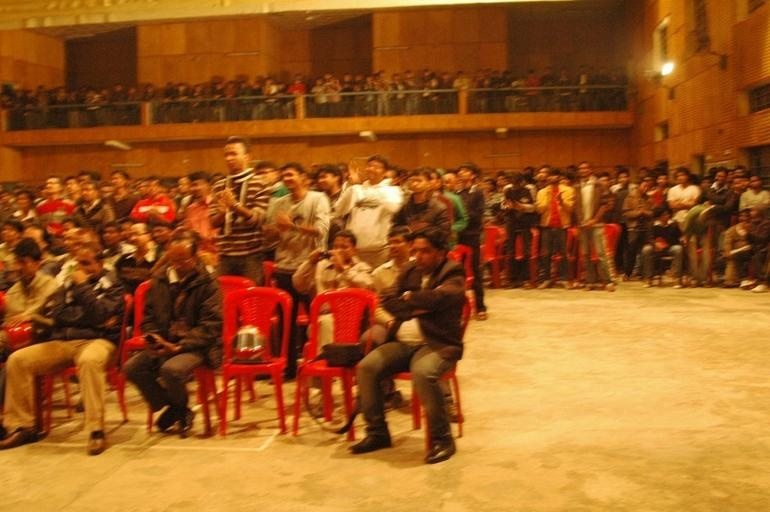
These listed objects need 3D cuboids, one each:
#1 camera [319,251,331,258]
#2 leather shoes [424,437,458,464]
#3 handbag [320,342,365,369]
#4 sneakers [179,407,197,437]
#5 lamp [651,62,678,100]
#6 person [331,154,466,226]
[{"bbox_3d":[-0.623,-0.014,6.472,0.082,0.068,0.079,0,-22,34],"label":"camera"},{"bbox_3d":[0.468,1.608,5.190,0.263,0.173,0.199,-2,13,2],"label":"leather shoes"},{"bbox_3d":[-0.380,0.889,5.624,0.255,0.135,0.308,0,-3,7],"label":"handbag"},{"bbox_3d":[-1.858,1.555,5.809,0.170,0.238,0.071,11,-8,-2],"label":"sneakers"},{"bbox_3d":[7.816,-4.942,17.415,0.522,1.074,1.426,1,13,15],"label":"lamp"},{"bbox_3d":[0.010,-0.760,7.405,0.953,0.466,1.205,-1,-7,6],"label":"person"}]
